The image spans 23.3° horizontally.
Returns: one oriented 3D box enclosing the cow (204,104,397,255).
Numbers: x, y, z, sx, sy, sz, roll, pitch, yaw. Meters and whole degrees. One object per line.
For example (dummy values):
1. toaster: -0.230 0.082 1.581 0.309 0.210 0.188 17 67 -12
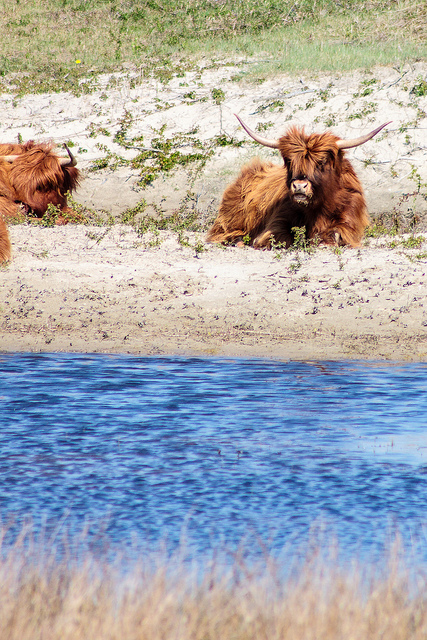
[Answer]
1. cow: 1.042 -1.603 13.262 1.975 1.591 2.448 1 6 0
